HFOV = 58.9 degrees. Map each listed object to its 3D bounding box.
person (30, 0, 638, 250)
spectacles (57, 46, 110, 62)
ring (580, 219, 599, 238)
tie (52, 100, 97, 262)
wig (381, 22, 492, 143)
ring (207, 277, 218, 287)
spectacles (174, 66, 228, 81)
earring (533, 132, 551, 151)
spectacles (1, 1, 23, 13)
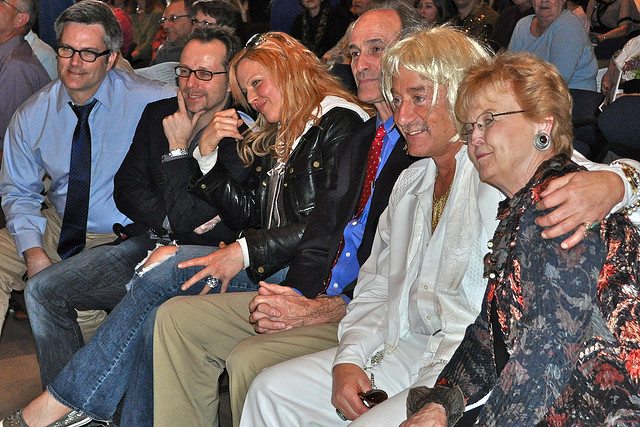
[{"bbox_3d":[-0.054,-0.511,3.395,2.449,0.860,0.807,22,41,39],"label":"person"},{"bbox_3d":[-1.627,-1.108,3.920,0.323,0.107,0.109,5,12,-22],"label":"spectacles"},{"bbox_3d":[0.919,0.051,1.970,0.048,0.061,0.028,0,30,-34],"label":"ring"},{"bbox_3d":[-1.667,-0.167,3.882,0.273,1.175,0.063,5,-6,-4],"label":"tie"},{"bbox_3d":[0.541,-0.630,2.690,0.615,0.533,0.452,-8,12,-24],"label":"wig"},{"bbox_3d":[-0.598,0.382,3.156,0.057,0.060,0.028,7,11,-13],"label":"ring"},{"bbox_3d":[-0.822,-0.934,3.786,0.343,0.074,0.103,12,11,16],"label":"spectacles"},{"bbox_3d":[0.858,-0.279,2.199,0.071,0.070,0.036,10,11,4],"label":"earring"},{"bbox_3d":[-2.733,-1.845,5.046,0.014,0.069,0.161,18,14,38],"label":"spectacles"}]
